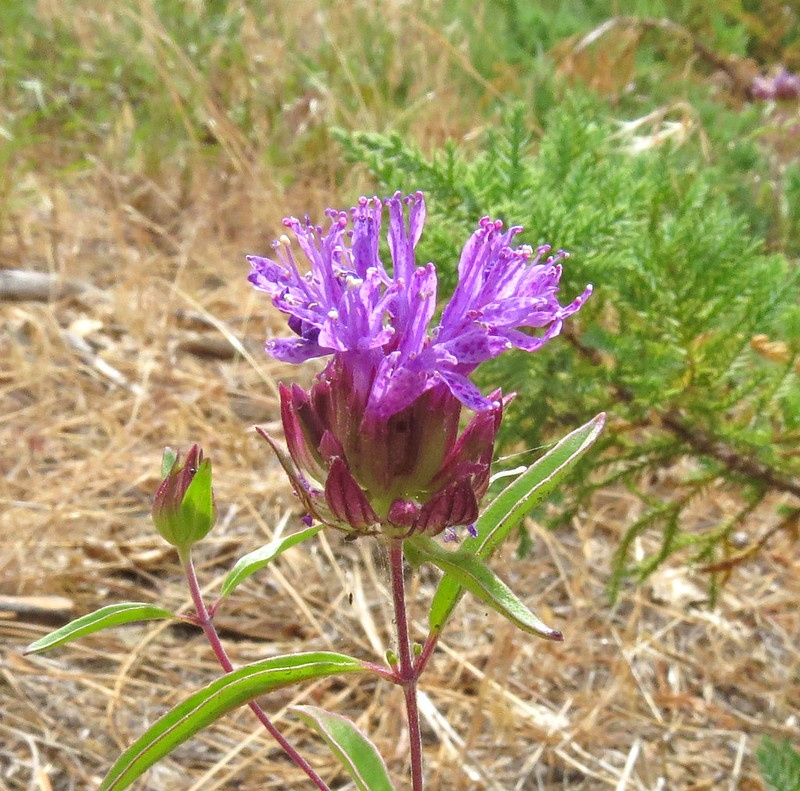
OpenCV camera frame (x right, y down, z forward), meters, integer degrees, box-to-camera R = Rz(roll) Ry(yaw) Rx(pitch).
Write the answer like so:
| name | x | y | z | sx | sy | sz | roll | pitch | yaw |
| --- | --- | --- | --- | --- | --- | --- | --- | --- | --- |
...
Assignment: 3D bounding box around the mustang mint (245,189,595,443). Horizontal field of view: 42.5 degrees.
| name | x | y | z | sx | sy | sz | roll | pitch | yaw |
| --- | --- | --- | --- | --- | --- | --- | --- | --- | --- |
| mustang mint | 0.027 | -0.238 | 2.359 | 0.616 | 0.378 | 0.607 | 19 | 24 | 17 |
